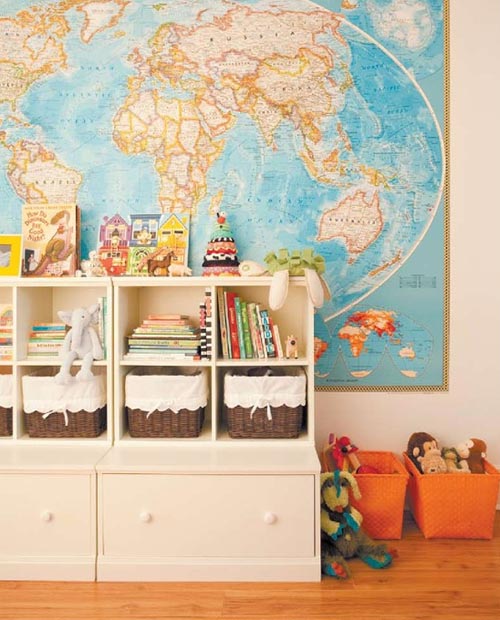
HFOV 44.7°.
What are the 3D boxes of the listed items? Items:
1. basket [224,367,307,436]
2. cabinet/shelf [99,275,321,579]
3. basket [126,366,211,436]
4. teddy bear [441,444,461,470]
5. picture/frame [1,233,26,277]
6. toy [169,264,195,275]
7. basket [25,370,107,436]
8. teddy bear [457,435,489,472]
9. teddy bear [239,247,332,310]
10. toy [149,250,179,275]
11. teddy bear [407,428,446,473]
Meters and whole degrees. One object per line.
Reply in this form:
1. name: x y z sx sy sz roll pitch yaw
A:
1. basket: 0.125 0.421 2.677 0.387 0.275 0.268 -6 -13 34
2. cabinet/shelf: -0.156 0.451 2.594 0.873 1.100 0.530 -2 1 4
3. basket: -0.468 0.448 2.698 0.341 0.254 0.398 -18 -21 40
4. teddy bear: 0.899 0.666 2.745 0.060 0.037 0.093 0 24 -2
5. picture/frame: -1.078 -0.254 2.769 0.099 0.196 0.113 -2 1 -20
6. toy: -0.306 -0.174 2.683 0.120 0.062 0.040 2 -15 -16
7. basket: -0.900 0.437 2.683 0.263 0.265 0.399 -17 -16 31
8. teddy bear: 1.013 0.636 2.776 0.140 0.175 0.172 4 -3 24
9. teddy bear: 0.199 -0.127 2.521 0.292 0.101 0.316 15 -39 -21
10. toy: -0.399 -0.215 2.715 0.114 0.109 0.064 -2 1 3
11. teddy bear: 0.799 0.638 2.768 0.145 0.107 0.209 -9 23 -9
